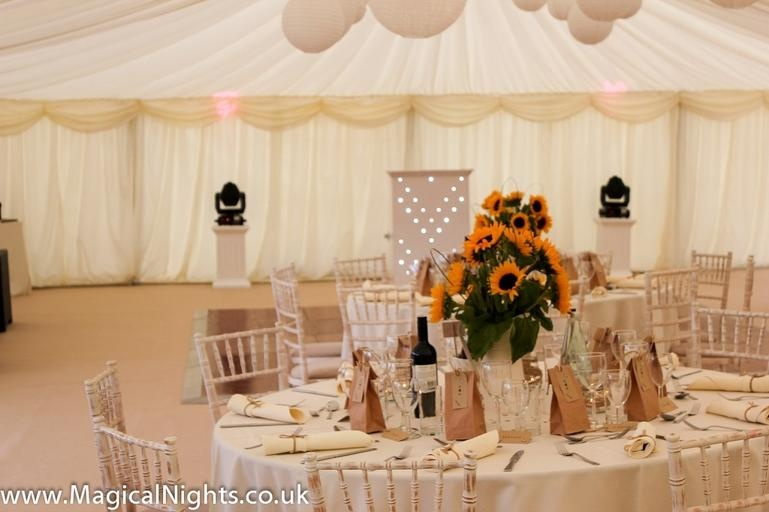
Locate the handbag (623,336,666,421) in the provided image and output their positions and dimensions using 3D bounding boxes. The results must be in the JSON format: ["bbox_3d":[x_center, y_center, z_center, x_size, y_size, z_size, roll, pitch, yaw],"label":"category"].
[{"bbox_3d":[1.321,0.640,3.690,0.137,0.383,0.368,1,2,31],"label":"handbag"}]

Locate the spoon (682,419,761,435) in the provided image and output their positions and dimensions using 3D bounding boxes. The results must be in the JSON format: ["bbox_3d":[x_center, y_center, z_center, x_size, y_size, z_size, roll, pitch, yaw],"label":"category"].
[{"bbox_3d":[1.664,0.842,3.564,0.298,0.051,0.044,-2,29,5],"label":"spoon"}]

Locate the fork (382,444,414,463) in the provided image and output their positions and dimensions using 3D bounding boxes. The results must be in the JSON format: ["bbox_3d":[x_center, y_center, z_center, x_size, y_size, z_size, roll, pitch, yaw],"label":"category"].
[{"bbox_3d":[0.081,0.946,3.483,0.043,0.035,0.195,2,-1,28],"label":"fork"}]

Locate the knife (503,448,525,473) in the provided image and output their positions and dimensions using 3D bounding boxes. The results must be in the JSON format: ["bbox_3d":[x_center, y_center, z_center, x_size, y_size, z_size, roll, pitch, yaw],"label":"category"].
[{"bbox_3d":[0.610,0.965,3.413,0.039,0.011,0.223,3,12,19],"label":"knife"}]

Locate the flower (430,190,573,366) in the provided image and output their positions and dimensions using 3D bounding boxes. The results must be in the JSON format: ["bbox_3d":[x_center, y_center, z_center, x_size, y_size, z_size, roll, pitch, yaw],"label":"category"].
[{"bbox_3d":[0.551,-0.002,4.016,0.770,1.030,0.795,-4,13,-12],"label":"flower"}]

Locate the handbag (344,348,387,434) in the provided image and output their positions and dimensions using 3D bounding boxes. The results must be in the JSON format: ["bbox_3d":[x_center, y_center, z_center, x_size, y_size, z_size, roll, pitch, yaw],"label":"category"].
[{"bbox_3d":[-0.092,0.707,3.711,0.123,0.362,0.344,-4,4,-14],"label":"handbag"}]
